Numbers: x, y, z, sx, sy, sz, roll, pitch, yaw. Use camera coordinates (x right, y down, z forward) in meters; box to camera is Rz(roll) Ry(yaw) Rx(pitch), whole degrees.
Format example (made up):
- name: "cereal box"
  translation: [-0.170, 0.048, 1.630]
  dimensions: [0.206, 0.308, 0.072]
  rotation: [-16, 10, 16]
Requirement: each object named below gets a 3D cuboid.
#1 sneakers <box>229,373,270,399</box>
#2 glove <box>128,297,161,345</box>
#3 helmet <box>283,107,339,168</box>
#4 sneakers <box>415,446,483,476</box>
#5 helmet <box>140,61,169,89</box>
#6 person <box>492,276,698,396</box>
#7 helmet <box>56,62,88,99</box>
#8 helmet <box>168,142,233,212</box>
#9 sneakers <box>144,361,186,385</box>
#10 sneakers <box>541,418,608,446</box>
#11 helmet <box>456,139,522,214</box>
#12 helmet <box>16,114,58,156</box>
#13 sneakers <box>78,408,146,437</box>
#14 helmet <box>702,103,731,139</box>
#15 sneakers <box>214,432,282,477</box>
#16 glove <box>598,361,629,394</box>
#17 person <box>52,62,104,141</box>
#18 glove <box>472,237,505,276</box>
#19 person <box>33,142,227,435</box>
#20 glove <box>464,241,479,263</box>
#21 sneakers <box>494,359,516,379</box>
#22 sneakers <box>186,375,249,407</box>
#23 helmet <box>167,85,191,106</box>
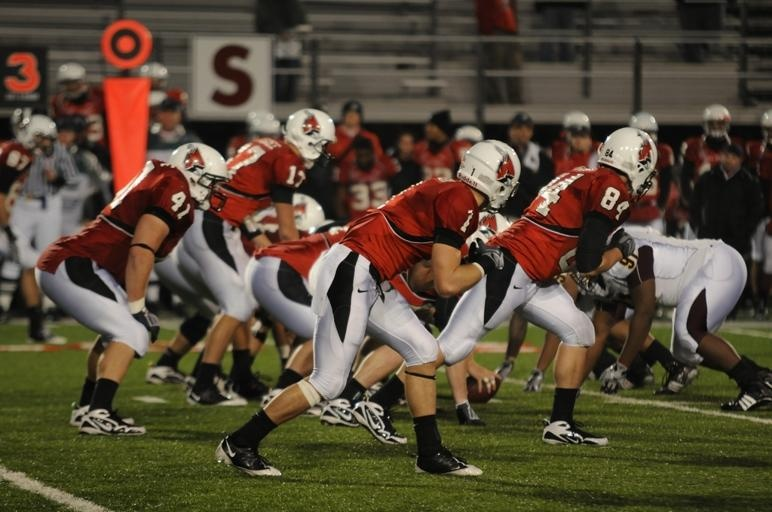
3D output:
- name: "sneakers"
  translation: [-1.266, 1.167, 10.908]
  dimensions: [0.440, 0.190, 0.152]
  rotation: [6, 0, -3]
- name: "glove"
  translation: [-1.863, 0.519, 9.466]
  dimensions: [0.243, 0.121, 0.339]
  rotation: [47, -10, 42]
- name: "helmet"
  translation: [-0.655, -1.068, 10.773]
  dimensions: [0.534, 0.566, 0.444]
  rotation: [7, 19, -6]
- name: "sneakers"
  translation: [0.450, 1.495, 8.917]
  dimensions: [0.515, 0.209, 0.188]
  rotation: [2, -7, 2]
- name: "helmet"
  translation: [-2.622, -2.066, 13.964]
  dimensions: [0.330, 0.322, 0.247]
  rotation: [-10, 21, -17]
- name: "person"
  translation: [1.996, 0.707, 11.138]
  dimensions: [1.692, 1.031, 1.067]
  rotation: [4, 4, 27]
- name: "helmet"
  translation: [-3.787, -2.178, 14.719]
  dimensions: [0.381, 0.491, 0.486]
  rotation: [2, 4, 8]
- name: "helmet"
  translation: [-1.511, -0.657, 9.771]
  dimensions: [0.505, 0.499, 0.401]
  rotation: [22, 3, 9]
- name: "sneakers"
  translation: [-2.054, 1.092, 11.286]
  dimensions: [0.492, 0.228, 0.165]
  rotation: [1, 0, -11]
- name: "sneakers"
  translation: [1.422, 1.360, 9.479]
  dimensions: [0.568, 0.232, 0.188]
  rotation: [1, -5, 2]
- name: "helmet"
  translation: [0.785, -0.657, 9.219]
  dimensions: [0.533, 0.473, 0.422]
  rotation: [-3, 27, -37]
- name: "helmet"
  translation: [-3.510, -1.286, 12.575]
  dimensions: [0.488, 0.415, 0.376]
  rotation: [16, 18, 35]
- name: "sneakers"
  translation: [-2.182, 1.315, 9.669]
  dimensions: [0.610, 0.249, 0.202]
  rotation: [2, -3, -12]
- name: "helmet"
  translation: [3.748, -1.552, 14.056]
  dimensions: [0.359, 0.399, 0.492]
  rotation: [1, 13, 3]
- name: "sneakers"
  translation: [-1.004, 1.453, 8.836]
  dimensions: [0.516, 0.216, 0.202]
  rotation: [20, -7, 25]
- name: "glove"
  translation: [1.932, 0.997, 10.404]
  dimensions: [0.224, 0.297, 0.089]
  rotation: [30, 9, -3]
- name: "person"
  translation: [-3.736, -1.960, 14.808]
  dimensions: [0.774, 0.782, 0.424]
  rotation: [-6, 18, 15]
- name: "glove"
  translation: [0.732, 0.000, 9.017]
  dimensions: [0.251, 0.120, 0.196]
  rotation: [28, -19, 37]
- name: "person"
  translation: [-2.036, 0.238, 9.638]
  dimensions: [1.308, 2.336, 0.648]
  rotation: [4, 3, 16]
- name: "glove"
  translation: [0.647, -0.050, 9.084]
  dimensions: [0.062, 0.079, 0.199]
  rotation: [26, 40, -1]
- name: "sneakers"
  translation: [1.101, 1.034, 11.283]
  dimensions: [0.131, 0.106, 0.313]
  rotation: [11, -41, -6]
- name: "sneakers"
  translation: [-1.419, 1.189, 10.611]
  dimensions: [0.614, 0.247, 0.207]
  rotation: [2, -4, -9]
- name: "helmet"
  translation: [-2.434, -1.881, 14.287]
  dimensions: [0.304, 0.171, 0.425]
  rotation: [2, 6, -16]
